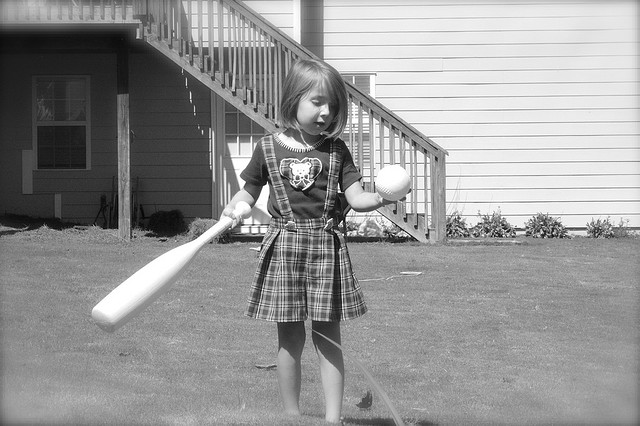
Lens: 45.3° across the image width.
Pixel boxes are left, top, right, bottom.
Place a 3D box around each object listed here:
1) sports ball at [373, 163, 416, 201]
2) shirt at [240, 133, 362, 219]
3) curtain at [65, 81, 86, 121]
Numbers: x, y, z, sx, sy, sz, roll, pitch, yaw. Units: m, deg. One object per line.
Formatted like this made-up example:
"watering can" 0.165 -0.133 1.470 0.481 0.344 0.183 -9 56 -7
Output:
"sports ball" 0.532 -0.218 5.648 0.250 0.250 0.206 0 10 -4
"shirt" -0.132 -0.254 5.828 0.964 0.744 0.464 0 -3 -6
"curtain" -4.287 -1.976 13.383 0.437 0.854 0.023 -3 -13 -28
